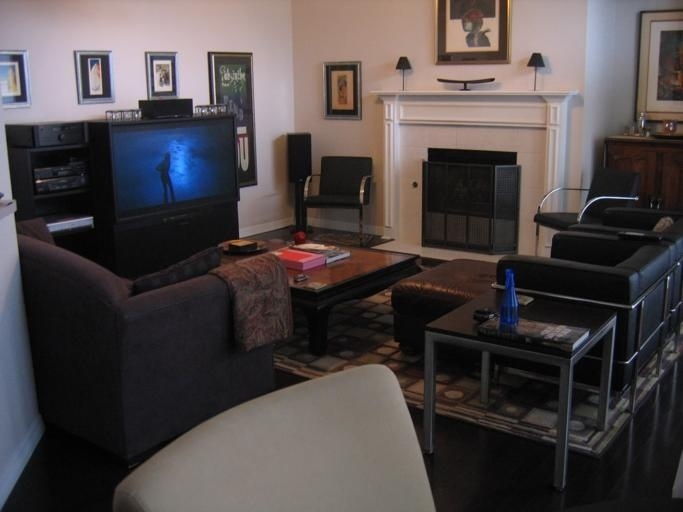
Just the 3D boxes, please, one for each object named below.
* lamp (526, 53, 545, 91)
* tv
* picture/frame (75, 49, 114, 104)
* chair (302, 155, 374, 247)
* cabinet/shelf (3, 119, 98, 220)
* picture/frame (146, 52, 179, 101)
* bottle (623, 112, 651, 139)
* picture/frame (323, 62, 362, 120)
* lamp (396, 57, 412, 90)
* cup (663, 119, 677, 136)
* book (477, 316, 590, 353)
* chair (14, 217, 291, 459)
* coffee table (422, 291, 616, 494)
[{"bbox_3d":[2.295,-2.198,6.238,0.200,0.439,0.213,4,17,20],"label":"lamp"},{"bbox_3d":[-2.004,-1.063,6.183,0.307,1.089,1.740,11,22,40],"label":"tv"},{"bbox_3d":[-2.777,-2.036,5.918,0.061,0.631,0.556,8,17,33],"label":"picture/frame"},{"bbox_3d":[-0.070,-0.851,7.517,1.008,1.115,1.145,1,17,10],"label":"chair"},{"bbox_3d":[-3.009,-0.886,5.474,0.476,0.991,0.804,8,19,33],"label":"cabinet/shelf"},{"bbox_3d":[-2.207,-2.264,6.538,0.100,0.535,0.492,6,18,27],"label":"picture/frame"},{"bbox_3d":[3.611,-1.601,6.444,0.399,0.406,0.259,9,19,32],"label":"bottle"},{"bbox_3d":[0.036,-2.432,7.611,0.741,0.959,0.067,7,13,29],"label":"picture/frame"},{"bbox_3d":[0.833,-2.461,7.050,0.202,0.434,0.284,-1,16,6],"label":"lamp"},{"bbox_3d":[3.751,-1.476,6.064,0.177,0.215,0.181,2,9,0],"label":"cup"},{"bbox_3d":[0.924,0.369,2.582,0.281,0.040,0.216,8,14,36],"label":"book"},{"bbox_3d":[-1.118,0.177,3.324,1.240,1.151,1.238,9,17,35],"label":"chair"},{"bbox_3d":[1.010,0.576,2.929,0.886,0.834,0.975,6,12,33],"label":"coffee table"}]
